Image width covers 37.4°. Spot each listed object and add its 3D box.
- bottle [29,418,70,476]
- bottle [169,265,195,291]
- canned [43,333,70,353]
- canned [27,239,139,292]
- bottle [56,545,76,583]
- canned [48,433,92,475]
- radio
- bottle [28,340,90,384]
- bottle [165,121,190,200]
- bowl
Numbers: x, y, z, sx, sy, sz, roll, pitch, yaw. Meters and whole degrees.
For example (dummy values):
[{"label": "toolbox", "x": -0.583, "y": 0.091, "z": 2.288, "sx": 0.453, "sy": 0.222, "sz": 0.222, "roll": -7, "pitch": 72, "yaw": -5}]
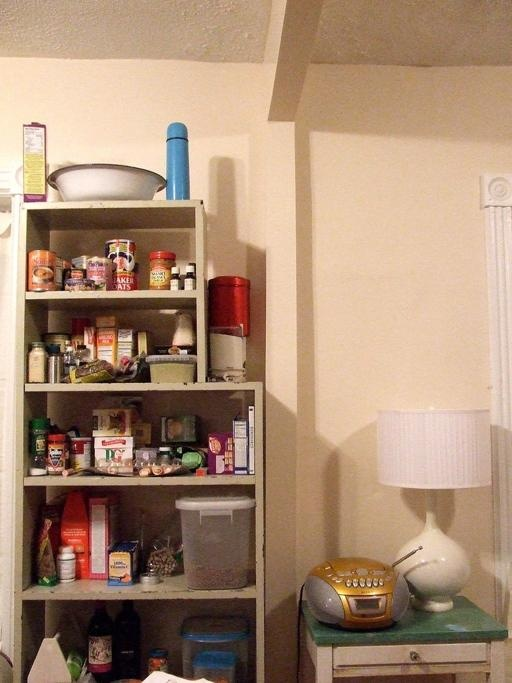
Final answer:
[{"label": "bottle", "x": -0.586, "y": 0.297, "z": 2.140, "sx": 0.110, "sy": 0.108, "sz": 0.055, "roll": -2, "pitch": -1, "yaw": -13}, {"label": "bottle", "x": -0.212, "y": -0.183, "z": 2.190, "sx": 0.076, "sy": 0.060, "sz": 0.104, "roll": -2, "pitch": -1, "yaw": -6}, {"label": "canned", "x": -0.584, "y": 0.006, "z": 2.223, "sx": 0.071, "sy": 0.057, "sz": 0.064, "roll": 2, "pitch": -3, "yaw": -28}, {"label": "canned", "x": -0.502, "y": -0.214, "z": 2.194, "sx": 0.307, "sy": 0.106, "sz": 0.121, "roll": -2, "pitch": -1, "yaw": -1}, {"label": "bottle", "x": -0.536, "y": 0.632, "z": 2.139, "sx": 0.047, "sy": 0.068, "sz": 0.035, "roll": -2, "pitch": -1, "yaw": -21}, {"label": "canned", "x": -0.532, "y": 0.317, "z": 2.147, "sx": 0.155, "sy": 0.123, "sz": 0.084, "roll": 1, "pitch": -3, "yaw": -8}, {"label": "radio", "x": 0.274, "y": 0.689, "z": 2.051, "sx": 0.266, "sy": 0.153, "sz": 0.192, "roll": -2, "pitch": -1, "yaw": -3}, {"label": "bottle", "x": -0.562, "y": 0.058, "z": 2.152, "sx": 0.173, "sy": 0.079, "sz": 0.071, "roll": -2, "pitch": -1, "yaw": -11}, {"label": "bottle", "x": -0.235, "y": -0.525, "z": 2.242, "sx": 0.071, "sy": 0.181, "sz": 0.175, "roll": -3, "pitch": -1, "yaw": -6}, {"label": "bowl", "x": -0.431, "y": -0.451, "z": 2.209, "sx": 0.339, "sy": 0.076, "sz": 0.166, "roll": -2, "pitch": -1, "yaw": -12}]
